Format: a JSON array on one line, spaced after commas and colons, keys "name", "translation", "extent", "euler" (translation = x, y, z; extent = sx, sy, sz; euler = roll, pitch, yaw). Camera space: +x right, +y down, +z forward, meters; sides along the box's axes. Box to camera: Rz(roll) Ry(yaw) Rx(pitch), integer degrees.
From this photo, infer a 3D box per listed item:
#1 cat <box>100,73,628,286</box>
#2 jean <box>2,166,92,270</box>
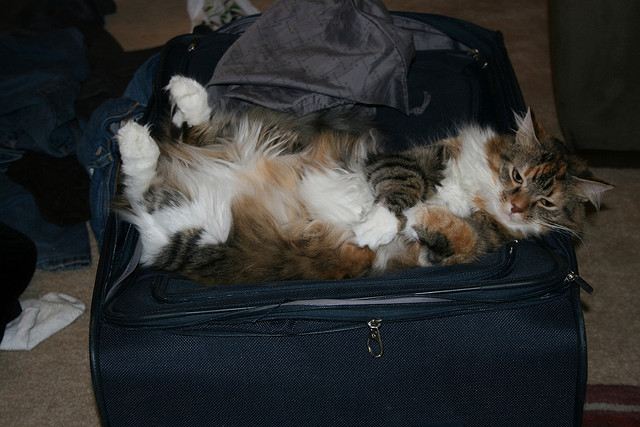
[{"name": "cat", "translation": [0.130, -0.068, 2.110], "extent": [1.277, 0.461, 0.840], "euler": [0, 42, -6]}, {"name": "jean", "translation": [-1.027, 0.005, 2.485], "extent": [0.363, 0.114, 0.376], "euler": [-1, 48, -16]}]
